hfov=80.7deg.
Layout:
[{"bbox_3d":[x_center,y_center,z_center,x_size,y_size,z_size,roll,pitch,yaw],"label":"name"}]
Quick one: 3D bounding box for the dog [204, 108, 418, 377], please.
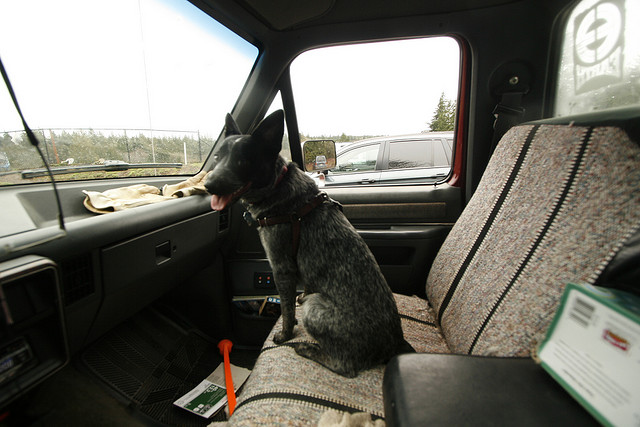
[{"bbox_3d":[-0.010,0.246,2.687,1.744,1.524,0.777,14,-6,-6],"label":"dog"}]
